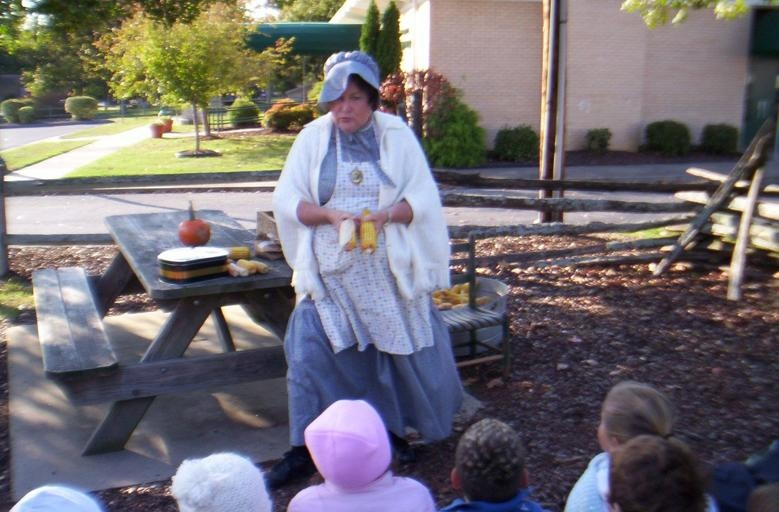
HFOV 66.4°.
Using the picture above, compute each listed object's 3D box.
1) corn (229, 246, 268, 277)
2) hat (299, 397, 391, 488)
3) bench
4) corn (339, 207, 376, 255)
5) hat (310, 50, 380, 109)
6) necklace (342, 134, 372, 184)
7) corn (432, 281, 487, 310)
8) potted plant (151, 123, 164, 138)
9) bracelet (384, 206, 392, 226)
[{"bbox_3d":[-1.035,0.040,4.254,0.254,0.067,0.246,-4,14,-32],"label":"corn"},{"bbox_3d":[-0.187,0.840,2.649,0.313,0.339,0.205,-11,23,-19],"label":"hat"},{"bbox_3d":[-2.435,0.618,4.588,0.343,0.244,1.217,-6,25,-25],"label":"bench"},{"bbox_3d":[-0.185,-0.152,3.567,0.210,0.124,0.254,0,40,-7],"label":"corn"},{"bbox_3d":[-0.258,-1.096,3.641,0.305,0.255,0.365,-1,17,12],"label":"hat"},{"bbox_3d":[-0.219,-0.623,3.896,0.210,0.311,0.099,-1,-8,-1],"label":"necklace"},{"bbox_3d":[0.592,0.376,5.372,0.344,0.091,0.316,-7,7,-11],"label":"corn"},{"bbox_3d":[-10.080,-5.402,25.834,0.689,0.460,0.627,-1,-1,-2],"label":"potted plant"},{"bbox_3d":[-0.009,-0.245,3.722,0.037,0.099,0.078,9,25,29],"label":"bracelet"}]
